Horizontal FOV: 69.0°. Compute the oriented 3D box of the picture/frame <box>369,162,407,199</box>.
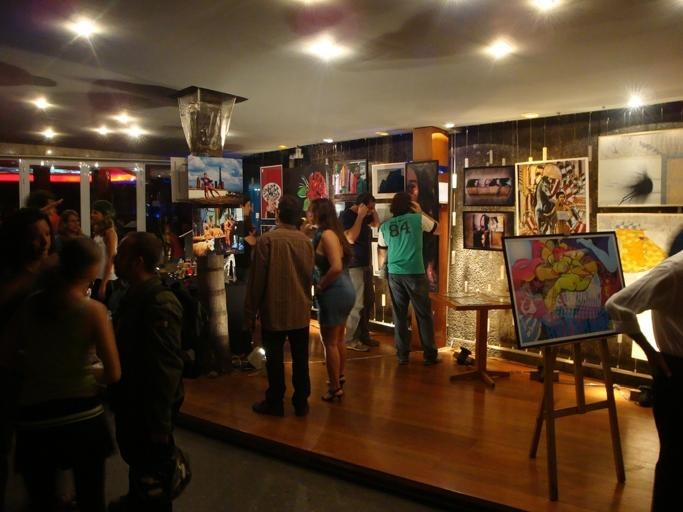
[{"bbox_3d":[0.683,-1.073,7.065,0.042,0.468,0.578,-8,11,-43],"label":"picture/frame"}]

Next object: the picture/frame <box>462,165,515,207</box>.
[{"bbox_3d":[1.918,-0.913,6.396,0.500,0.411,0.037,5,6,41],"label":"picture/frame"}]

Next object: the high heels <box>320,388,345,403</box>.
[{"bbox_3d":[-0.076,1.408,5.059,0.199,0.132,0.117,4,1,7],"label":"high heels"}]

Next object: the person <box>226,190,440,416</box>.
[{"bbox_3d":[-0.383,0.470,4.744,1.078,2.073,0.388,-6,9,-35],"label":"person"}]

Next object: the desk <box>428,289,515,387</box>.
[{"bbox_3d":[1.446,0.917,5.815,0.873,0.918,0.892,3,-3,-24],"label":"desk"}]

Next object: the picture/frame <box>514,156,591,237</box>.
[{"bbox_3d":[2.521,-0.718,5.945,0.786,1.023,0.016,1,35,26],"label":"picture/frame"}]

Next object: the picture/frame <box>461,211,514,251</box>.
[{"bbox_3d":[1.835,-0.320,6.174,0.040,0.387,0.477,0,1,-41],"label":"picture/frame"}]
